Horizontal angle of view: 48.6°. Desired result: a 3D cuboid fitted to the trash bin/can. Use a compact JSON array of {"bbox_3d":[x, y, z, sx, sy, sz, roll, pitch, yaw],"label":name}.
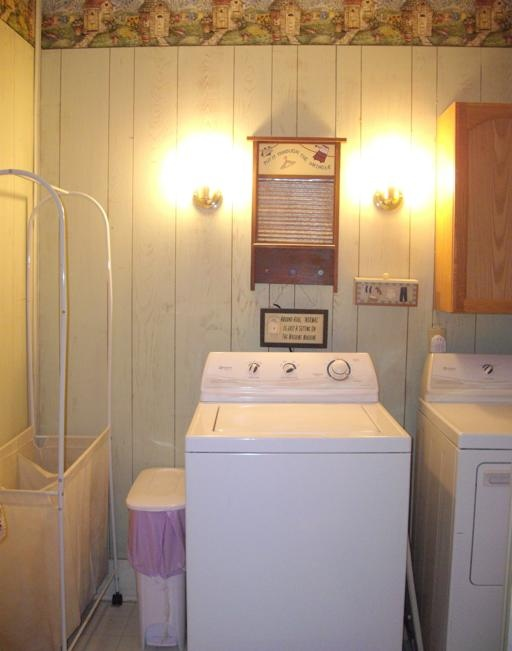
[{"bbox_3d":[-0.389,0.912,2.220,0.215,0.621,0.374,0,9,-10],"label":"trash bin/can"}]
